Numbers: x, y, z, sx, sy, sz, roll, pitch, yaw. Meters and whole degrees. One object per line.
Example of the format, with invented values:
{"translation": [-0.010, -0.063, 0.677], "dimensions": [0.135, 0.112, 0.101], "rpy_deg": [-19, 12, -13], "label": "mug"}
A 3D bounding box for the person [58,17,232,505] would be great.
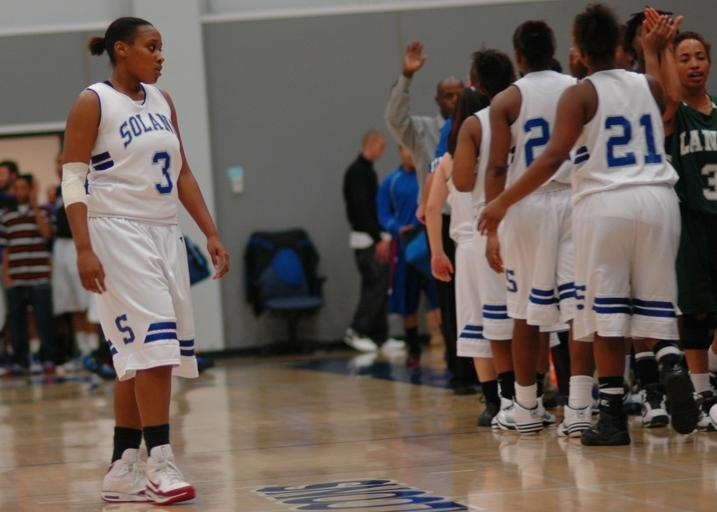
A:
{"translation": [-1.017, -0.004, 4.721], "dimensions": [0.719, 2.293, 0.425], "rpy_deg": [0, -4, -18], "label": "person"}

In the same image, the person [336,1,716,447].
{"translation": [1.302, -0.170, 5.016], "dimensions": [1.346, 2.214, 0.614], "rpy_deg": [0, -4, -14], "label": "person"}

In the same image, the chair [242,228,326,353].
{"translation": [-0.690, 0.379, 10.096], "dimensions": [0.771, 1.242, 0.696], "rpy_deg": [-3, 4, -16], "label": "chair"}

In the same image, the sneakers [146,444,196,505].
{"translation": [-0.853, 0.997, 4.581], "dimensions": [0.255, 0.267, 0.123], "rpy_deg": [-4, -5, 31], "label": "sneakers"}
